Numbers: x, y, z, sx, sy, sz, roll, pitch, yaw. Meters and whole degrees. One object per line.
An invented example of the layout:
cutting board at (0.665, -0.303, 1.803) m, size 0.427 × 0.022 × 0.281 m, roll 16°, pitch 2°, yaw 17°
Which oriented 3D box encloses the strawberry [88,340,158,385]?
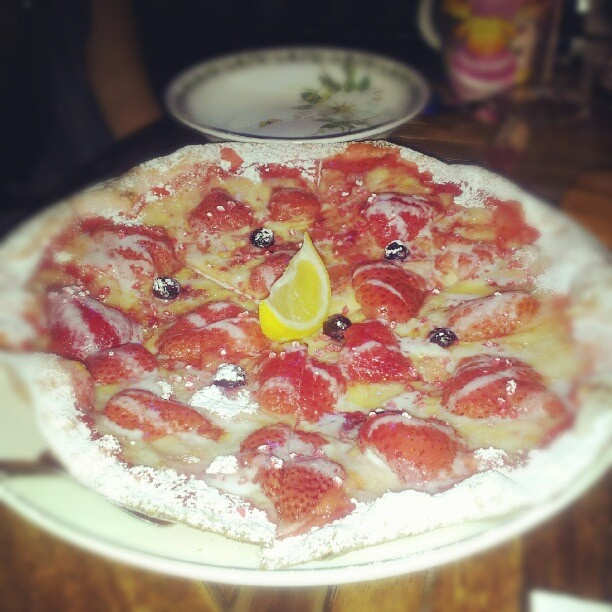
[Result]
strawberry at (-0.580, 0.161, 2.561) m, size 0.215 × 0.055 × 0.149 m, roll -24°, pitch 73°, yaw -43°

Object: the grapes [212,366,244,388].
grapes at (-0.224, 0.213, 2.535) m, size 0.095 × 0.039 × 0.076 m, roll 11°, pitch 58°, yaw 8°

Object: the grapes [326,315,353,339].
grapes at (0.112, 0.067, 2.654) m, size 0.094 × 0.061 × 0.065 m, roll -1°, pitch 76°, yaw 5°

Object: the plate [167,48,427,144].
plate at (-0.029, -0.788, 3.124) m, size 0.962 × 0.125 × 0.534 m, roll -3°, pitch 55°, yaw -1°
